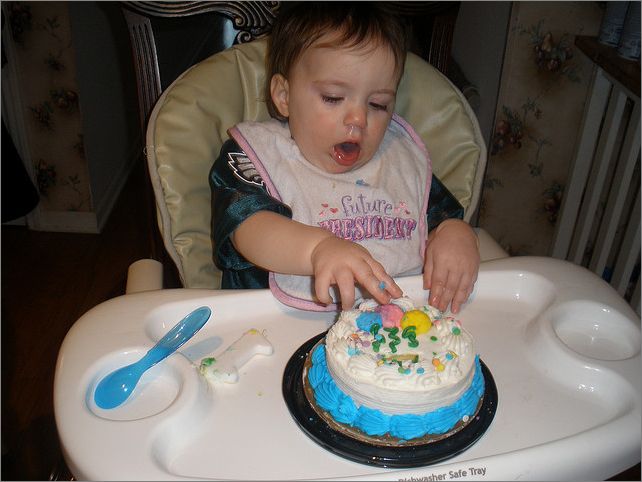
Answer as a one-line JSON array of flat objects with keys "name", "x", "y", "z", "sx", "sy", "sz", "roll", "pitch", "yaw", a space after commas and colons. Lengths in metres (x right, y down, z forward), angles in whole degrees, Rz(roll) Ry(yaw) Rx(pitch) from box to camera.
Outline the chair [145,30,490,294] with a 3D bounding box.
[{"name": "chair", "x": -0.063, "y": -0.194, "z": 1.569, "sx": 0.655, "sy": 0.898, "sz": 0.711, "roll": -15, "pitch": 46, "yaw": -14}]

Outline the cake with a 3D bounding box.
[{"name": "cake", "x": 0.138, "y": 0.219, "z": 0.888, "sx": 0.318, "sy": 0.113, "sz": 0.231, "roll": -3, "pitch": 28, "yaw": -12}]

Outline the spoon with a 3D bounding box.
[{"name": "spoon", "x": -0.297, "y": 0.216, "z": 0.965, "sx": 0.080, "sy": 0.041, "sz": 0.295, "roll": 38, "pitch": 53, "yaw": 13}]
